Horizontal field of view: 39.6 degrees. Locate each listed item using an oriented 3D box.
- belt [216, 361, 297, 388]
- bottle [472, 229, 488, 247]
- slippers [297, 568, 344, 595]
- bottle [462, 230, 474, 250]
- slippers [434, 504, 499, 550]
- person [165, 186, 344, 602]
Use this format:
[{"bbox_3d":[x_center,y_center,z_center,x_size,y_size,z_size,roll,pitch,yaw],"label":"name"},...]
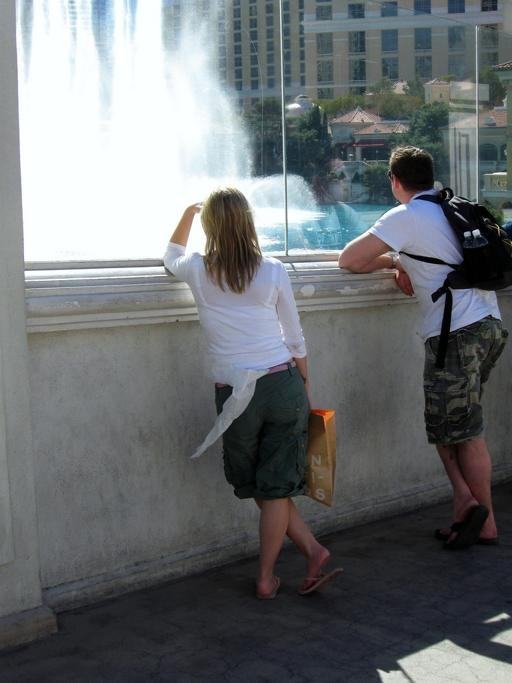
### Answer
[{"bbox_3d":[-0.006,0.128,2.687,0.308,0.096,0.148,-1,3,-1],"label":"belt"},{"bbox_3d":[0.995,-0.463,3.163,0.072,0.083,0.052,-1,2,-17],"label":"bottle"},{"bbox_3d":[0.250,0.954,2.836,0.230,0.064,0.095,-36,9,46],"label":"slippers"},{"bbox_3d":[0.949,-0.457,3.166,0.048,0.080,0.036,0,2,18],"label":"bottle"},{"bbox_3d":[1.004,0.893,3.393,0.133,0.374,0.125,8,32,-15],"label":"slippers"},{"bbox_3d":[-0.022,0.225,2.781,0.661,1.621,0.400,0,2,-1],"label":"person"}]
